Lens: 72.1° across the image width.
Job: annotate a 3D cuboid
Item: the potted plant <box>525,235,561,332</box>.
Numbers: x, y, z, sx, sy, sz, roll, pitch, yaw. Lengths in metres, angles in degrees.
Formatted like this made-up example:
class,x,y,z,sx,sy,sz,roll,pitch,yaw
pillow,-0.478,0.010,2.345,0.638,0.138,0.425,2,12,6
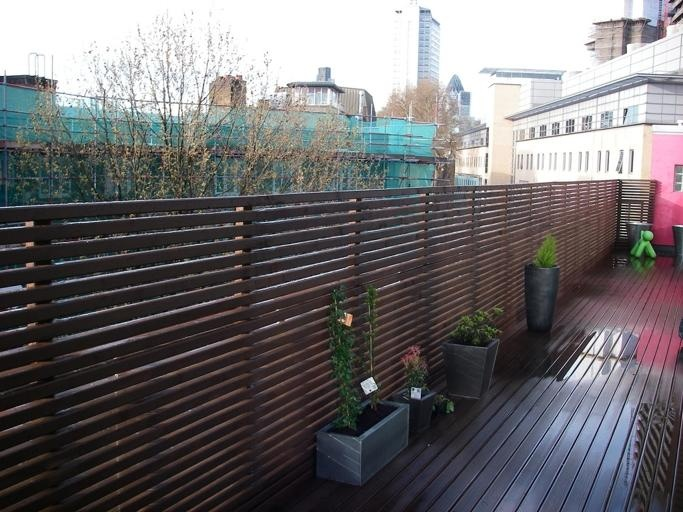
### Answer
class,x,y,z,sx,sy,sz,roll,pitch,yaw
potted plant,3.149,0.356,7.236,0.947,1.417,0.458,-6,11,-41

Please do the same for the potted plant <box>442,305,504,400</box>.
class,x,y,z,sx,sy,sz,roll,pitch,yaw
potted plant,1.352,1.047,4.929,0.537,0.717,0.585,6,-11,9

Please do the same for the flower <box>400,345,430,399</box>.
class,x,y,z,sx,sy,sz,roll,pitch,yaw
flower,0.748,1.044,4.296,0.208,0.392,0.208,-18,-26,27

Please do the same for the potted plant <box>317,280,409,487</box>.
class,x,y,z,sx,sy,sz,roll,pitch,yaw
potted plant,0.173,0.906,3.549,0.525,1.271,0.806,4,9,24

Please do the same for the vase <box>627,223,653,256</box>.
class,x,y,z,sx,sy,sz,roll,pitch,yaw
vase,9.296,-0.618,14.884,0.893,1.026,0.942,2,4,13
